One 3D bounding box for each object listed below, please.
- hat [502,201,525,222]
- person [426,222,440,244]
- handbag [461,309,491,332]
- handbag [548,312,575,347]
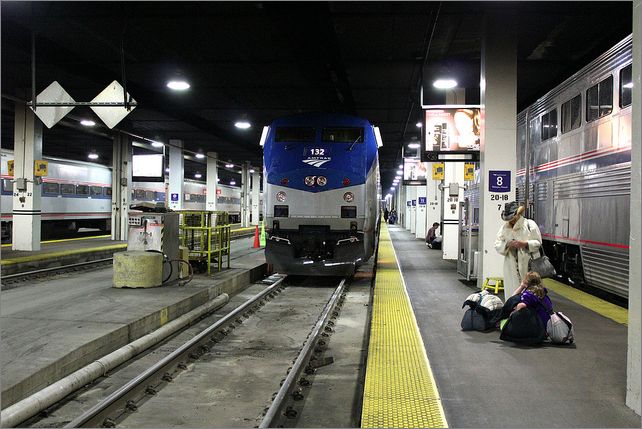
[{"bbox_3d":[3.890,-0.043,8.904,0.360,0.397,0.514,3,9,26],"label":"hat"},{"bbox_3d":[5.982,1.075,23.583,0.628,1.150,1.166,1,8,15],"label":"person"},{"bbox_3d":[3.046,2.054,8.670,0.407,0.365,0.548,3,-3,31],"label":"handbag"},{"bbox_3d":[4.237,2.056,7.812,0.511,0.603,0.327,8,-9,-15],"label":"handbag"}]
